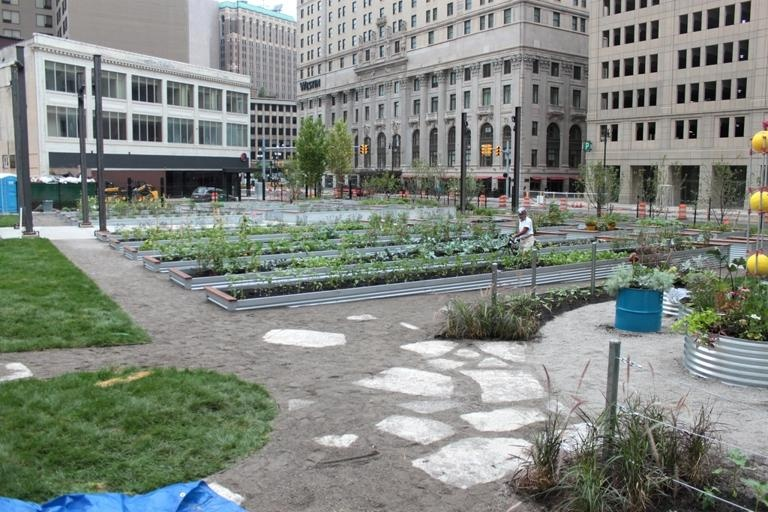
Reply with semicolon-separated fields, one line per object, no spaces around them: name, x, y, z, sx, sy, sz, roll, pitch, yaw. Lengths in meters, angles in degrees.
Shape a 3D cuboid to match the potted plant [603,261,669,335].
potted plant;5.564;0.816;13.199;1.648;1.651;1.322;4;8;32
